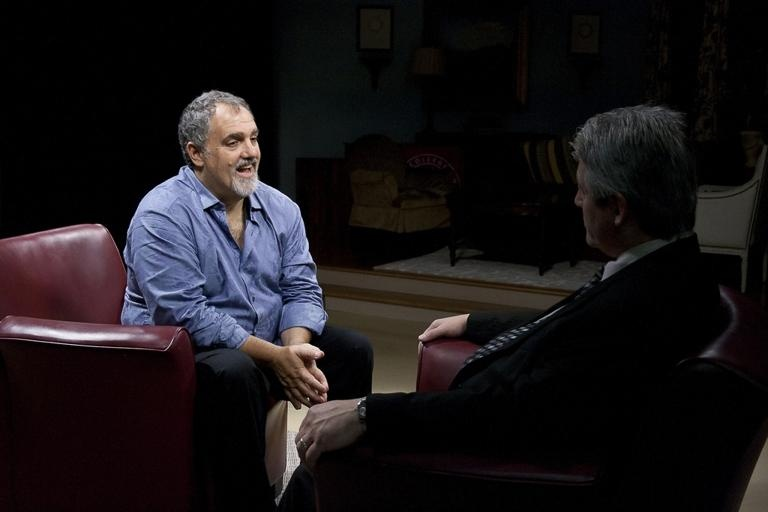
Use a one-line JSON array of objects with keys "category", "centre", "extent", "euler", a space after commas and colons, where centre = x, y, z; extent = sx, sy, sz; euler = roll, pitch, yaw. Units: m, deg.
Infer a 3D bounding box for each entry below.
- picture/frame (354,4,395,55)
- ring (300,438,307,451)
[{"category": "picture/frame", "centre": [-0.096, -2.309, 5.889], "extent": [0.492, 0.579, 0.041], "euler": [0, 4, 2]}, {"category": "ring", "centre": [-0.214, 0.501, 1.541], "extent": [0.019, 0.025, 0.021], "euler": [1, 49, 24]}]
